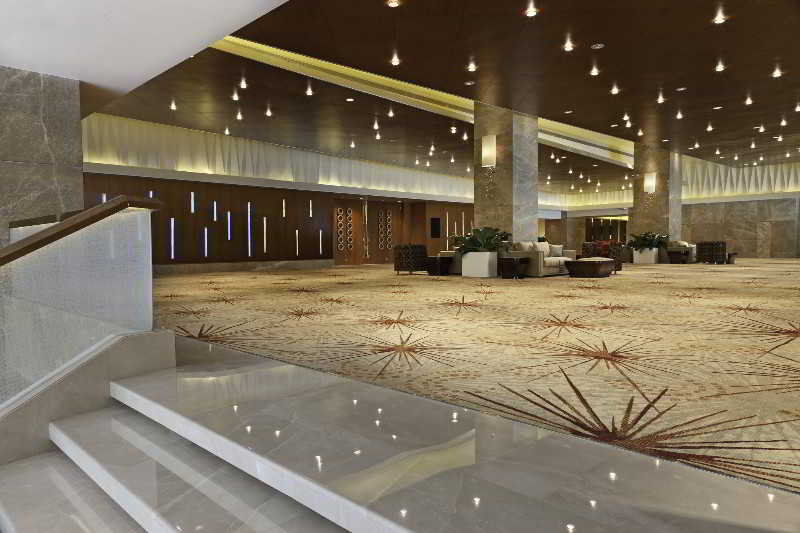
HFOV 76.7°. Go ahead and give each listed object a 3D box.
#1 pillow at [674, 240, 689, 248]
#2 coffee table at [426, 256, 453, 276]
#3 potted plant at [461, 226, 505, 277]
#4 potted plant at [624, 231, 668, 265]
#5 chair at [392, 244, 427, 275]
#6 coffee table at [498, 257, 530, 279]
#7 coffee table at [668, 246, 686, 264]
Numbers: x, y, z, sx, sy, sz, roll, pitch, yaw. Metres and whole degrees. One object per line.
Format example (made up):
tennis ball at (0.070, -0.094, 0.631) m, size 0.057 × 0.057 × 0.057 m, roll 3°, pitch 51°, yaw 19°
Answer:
pillow at (9.799, -0.801, 17.661) m, size 0.395 × 0.194 × 0.616 m, roll 2°, pitch 3°, yaw 23°
coffee table at (0.985, -0.019, 12.373) m, size 0.446 × 0.509 × 0.789 m, roll 3°, pitch -4°, yaw -40°
potted plant at (2.052, -0.317, 11.979) m, size 1.221 × 1.049 × 1.241 m, roll -2°, pitch -4°, yaw 41°
potted plant at (8.764, -0.658, 17.916) m, size 1.291 × 0.969 × 1.237 m, roll 0°, pitch -3°, yaw 21°
chair at (0.275, -0.200, 13.167) m, size 0.867 × 0.769 × 0.798 m, roll 0°, pitch 1°, yaw 3°
coffee table at (2.518, 0.017, 11.111) m, size 0.539 × 0.422 × 0.621 m, roll 2°, pitch -5°, yaw -37°
coffee table at (9.546, -0.403, 17.467) m, size 0.518 × 0.460 × 0.628 m, roll -1°, pitch 1°, yaw 29°
